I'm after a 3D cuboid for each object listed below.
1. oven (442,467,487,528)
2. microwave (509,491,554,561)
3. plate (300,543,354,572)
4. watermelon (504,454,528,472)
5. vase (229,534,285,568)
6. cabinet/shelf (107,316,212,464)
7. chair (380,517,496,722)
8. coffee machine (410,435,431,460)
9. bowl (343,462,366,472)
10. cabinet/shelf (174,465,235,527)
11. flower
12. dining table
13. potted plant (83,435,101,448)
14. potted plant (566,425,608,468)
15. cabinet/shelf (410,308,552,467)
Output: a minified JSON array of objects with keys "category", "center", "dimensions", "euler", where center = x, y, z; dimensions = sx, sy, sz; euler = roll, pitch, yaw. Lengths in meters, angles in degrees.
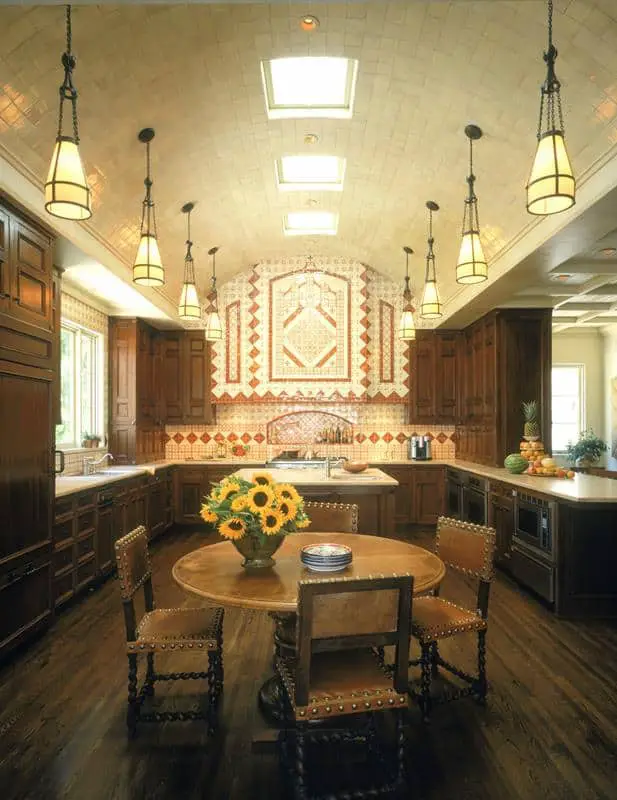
[{"category":"oven","center":[1.912,1.136,6.549],"dimensions":[0.318,0.635,0.967],"euler":[-1,2,-12]},{"category":"microwave","center":[1.777,0.975,4.465],"dimensions":[0.293,0.438,0.453],"euler":[3,-5,-1]},{"category":"plate","center":[0.077,0.697,2.540],"dimensions":[0.228,0.078,0.295],"euler":[-2,-2,-4]},{"category":"watermelon","center":[2.027,0.619,5.563],"dimensions":[0.148,0.160,0.188],"euler":[-8,6,-19]},{"category":"vase","center":[-0.231,0.625,2.521],"dimensions":[0.173,0.143,0.191],"euler":[-3,-6,23]},{"category":"cabinet/shelf","center":[-2.200,-0.162,7.539],"dimensions":[1.506,2.259,1.605],"euler":[-1,2,-1]},{"category":"chair","center":[0.639,1.063,2.886],"dimensions":[0.483,0.869,0.513],"euler":[2,-2,-18]},{"category":"coffee machine","center":[1.495,0.660,7.908],"dimensions":[0.281,0.386,0.315],"euler":[0,-13,1]},{"category":"bowl","center":[0.444,0.643,5.415],"dimensions":[0.212,0.104,0.229],"euler":[-2,-2,0]},{"category":"cabinet/shelf","center":[-1.366,1.210,7.671],"dimensions":[0.752,0.761,0.452],"euler":[1,4,-5]},{"category":"flower","center":[-0.213,0.492,2.567],"dimensions":[0.396,0.288,0.483],"euler":[-10,-18,16]},{"category":"dining table","center":[0.017,1.126,2.742],"dimensions":[1.274,0.778,1.298],"euler":[2,0,-13]},{"category":"potted plant","center":[-2.365,0.444,6.186],"dimensions":[0.145,0.153,0.139],"euler":[0,-6,-7]},{"category":"potted plant","center":[4.788,0.841,9.819],"dimensions":[0.748,0.766,0.771],"euler":[-2,5,5]},{"category":"cabinet/shelf","center":[2.127,-0.242,7.526],"dimensions":[1.434,2.737,2.873],"euler":[0,-4,5]}]
